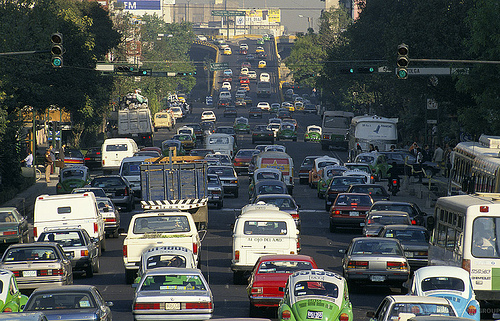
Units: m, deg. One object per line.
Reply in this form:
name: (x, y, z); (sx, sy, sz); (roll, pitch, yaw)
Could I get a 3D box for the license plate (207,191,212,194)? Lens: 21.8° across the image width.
license plate: (-2.812, 2.167, 88.830); (0.248, 0.149, 0.258); (-2, -2, -3)

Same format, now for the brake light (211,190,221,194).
brake light: (-2.360, 2.142, 89.027); (0.637, 0.328, 0.098); (-5, 12, -18)

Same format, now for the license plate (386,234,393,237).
license plate: (8.032, 4.351, 74.601); (0.395, 0.180, 0.296); (-2, 12, -1)

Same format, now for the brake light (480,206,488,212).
brake light: (12.560, 2.587, 69.445); (0.391, 0.292, 0.056); (-1, 11, 3)

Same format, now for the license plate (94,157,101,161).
license plate: (-12.904, -0.210, 109.133); (0.469, 0.273, 0.328); (-2, 0, -7)

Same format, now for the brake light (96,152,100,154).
brake light: (-12.844, -0.684, 109.349); (0.222, 0.134, 0.094); (-5, 12, -15)

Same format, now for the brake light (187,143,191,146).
brake light: (-5.524, -1.534, 116.502); (0.365, 0.256, 0.146); (0, 12, 7)

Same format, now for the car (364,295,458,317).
car: (8.186, 7.525, 64.857); (3.789, 1.140, 0.943); (1, 12, 11)

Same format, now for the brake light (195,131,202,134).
brake light: (-5.175, -2.860, 128.440); (0.651, 0.304, 0.151); (-8, 13, -28)

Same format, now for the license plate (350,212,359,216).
license plate: (6.624, 3.390, 82.178); (0.559, 0.265, 0.034); (0, 11, 9)

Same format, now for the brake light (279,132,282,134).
brake light: (3.025, -2.834, 129.278); (0.290, 0.148, 0.109); (3, 12, 20)

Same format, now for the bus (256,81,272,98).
bus: (2.091, -11.069, 197.818); (2.049, 2.747, 2.903); (-2, 12, -4)

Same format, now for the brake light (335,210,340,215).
brake light: (5.531, 3.313, 82.199); (0.232, 0.246, 0.234); (0, 7, 6)

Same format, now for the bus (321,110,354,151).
bus: (8.617, -3.957, 124.478); (3.558, 4.013, 6.460); (2, 22, 2)

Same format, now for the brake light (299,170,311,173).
brake light: (4.258, 0.826, 101.622); (0.715, 0.256, 0.125); (2, 12, 18)

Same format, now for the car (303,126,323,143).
car: (6.348, -2.661, 129.899); (1.600, 1.581, 3.434); (0, 9, 2)

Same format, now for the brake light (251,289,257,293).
brake light: (0.217, 6.952, 68.489); (0.239, 0.139, 0.170); (0, -11, 0)

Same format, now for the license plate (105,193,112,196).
license plate: (-9.566, 2.266, 87.403); (0.147, 0.169, 0.557); (7, 15, 37)

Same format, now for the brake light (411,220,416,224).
brake light: (9.909, 3.733, 78.544); (0.278, 0.260, 0.158); (-1, 12, 2)

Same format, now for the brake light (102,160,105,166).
brake light: (-11.617, 0.136, 102.365); (0.244, 0.443, 0.081); (7, 14, 34)

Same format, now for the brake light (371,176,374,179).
brake light: (8.709, 1.198, 92.633); (0.182, 0.197, 0.188); (9, 2, 32)

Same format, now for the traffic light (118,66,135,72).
traffic light: (-10.607, -8.008, 110.469); (1.407, 0.387, 1.000); (-1, 12, 1)

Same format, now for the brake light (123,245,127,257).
brake light: (-7.072, 5.152, 73.308); (0.181, 0.652, 0.215); (-2, 11, -1)

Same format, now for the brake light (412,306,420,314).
brake light: (8.288, 7.508, 64.663); (0.388, 0.309, 0.162); (0, 12, 8)

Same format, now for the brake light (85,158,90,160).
brake light: (-13.751, -0.187, 109.265); (0.499, 0.158, 0.097); (7, 14, 37)

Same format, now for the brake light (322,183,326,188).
brake light: (5.370, 1.765, 94.043); (0.287, 0.194, 0.483); (2, 9, -1)

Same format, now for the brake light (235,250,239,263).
brake light: (-0.753, 5.456, 72.975); (0.118, 0.520, 0.355); (1, -5, 18)

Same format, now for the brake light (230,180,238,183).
brake light: (-1.177, 1.493, 94.000); (0.527, 0.219, 0.169); (-7, 13, -26)

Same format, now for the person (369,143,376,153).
person: (10.110, -1.102, 107.509); (0.224, 0.391, 0.737); (-7, 36, 0)

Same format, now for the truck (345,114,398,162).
truck: (10.445, -2.306, 111.911); (2.695, 3.201, 5.119); (-1, 4, -1)

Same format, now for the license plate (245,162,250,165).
license plate: (-0.280, 0.223, 104.492); (0.238, 0.221, 0.134); (0, -8, 3)

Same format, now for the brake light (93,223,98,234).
brake light: (-9.252, 4.060, 77.548); (0.335, 0.607, 0.257); (-8, 13, -29)

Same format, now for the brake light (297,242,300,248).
brake light: (2.728, 4.841, 73.795); (0.040, 0.377, 0.307); (3, 12, 22)

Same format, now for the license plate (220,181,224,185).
license plate: (-2.010, 1.579, 93.765); (0.153, 0.281, 0.275); (0, -1, 3)

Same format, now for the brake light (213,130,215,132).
brake light: (-3.601, -3.037, 128.271); (0.198, 0.215, 0.368); (-3, 7, -4)
